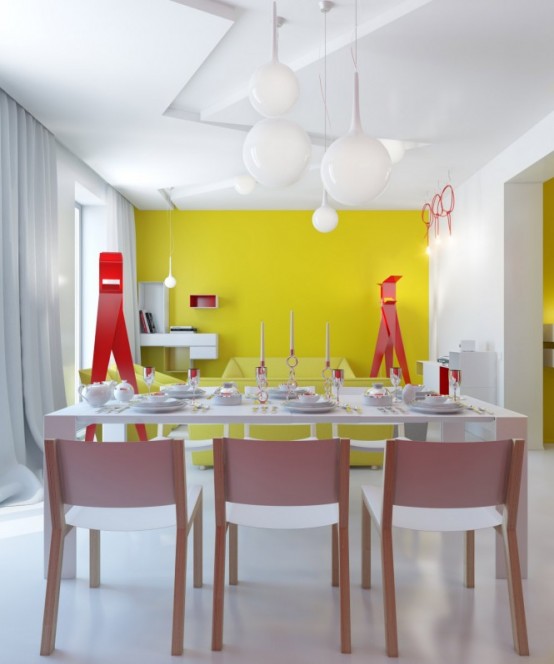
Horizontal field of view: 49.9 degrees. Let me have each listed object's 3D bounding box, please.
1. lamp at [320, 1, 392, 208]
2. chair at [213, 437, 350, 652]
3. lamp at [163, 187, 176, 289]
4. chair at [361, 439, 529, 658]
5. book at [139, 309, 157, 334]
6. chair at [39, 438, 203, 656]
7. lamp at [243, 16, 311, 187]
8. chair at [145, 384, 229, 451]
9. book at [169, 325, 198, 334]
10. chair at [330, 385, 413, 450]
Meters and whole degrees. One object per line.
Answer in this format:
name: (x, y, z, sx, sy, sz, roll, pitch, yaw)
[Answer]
lamp: (0.257, -0.685, 2.041, 0.197, 0.473, 0.230, -2, 3, -40)
chair: (0.011, 0.634, 2.066, 0.518, 0.919, 0.584, 0, 4, 1)
lamp: (-1.207, -1.007, 6.730, 0.129, 1.034, 0.587, 0, 3, -10)
chair: (0.562, 0.649, 1.997, 0.485, 0.674, 0.471, 0, 2, -1)
book: (-1.489, -0.103, 6.813, 0.082, 0.268, 0.250, -8, -4, 10)
chair: (-0.505, 0.647, 1.981, 0.484, 0.675, 0.506, 0, 2, -7)
lamp: (0.001, -0.918, 2.241, 0.241, 0.765, 0.456, 0, 2, 1)
chair: (-0.387, 0.371, 2.627, 0.415, 0.319, 0.242, 1, 4, 2)
book: (-1.081, -0.027, 6.907, 0.341, 0.083, 0.273, 0, 2, -10)
chair: (0.415, 0.380, 2.674, 0.337, 0.372, 0.290, 0, -6, -4)
